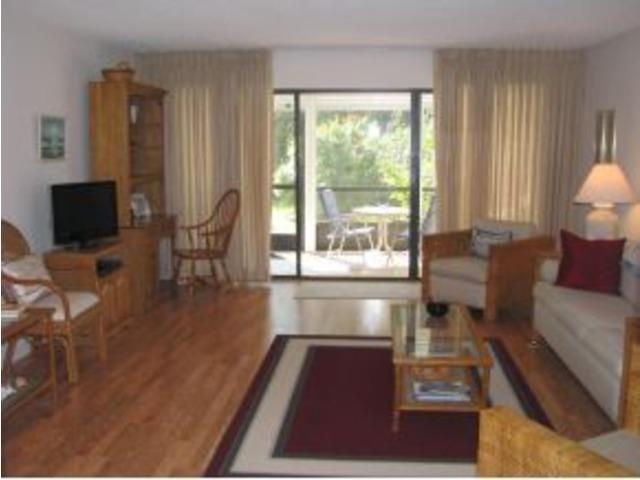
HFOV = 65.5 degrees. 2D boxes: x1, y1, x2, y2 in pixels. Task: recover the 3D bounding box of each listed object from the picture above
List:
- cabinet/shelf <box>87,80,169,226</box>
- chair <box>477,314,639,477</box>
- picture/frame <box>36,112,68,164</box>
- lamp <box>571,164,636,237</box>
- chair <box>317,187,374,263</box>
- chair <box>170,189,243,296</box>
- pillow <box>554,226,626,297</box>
[{"bbox_3d":[-1.519,-0.705,4.043,0.257,1.097,0.793,2,12,15],"label":"cabinet/shelf"},{"bbox_3d":[0.665,0.525,1.416,0.267,0.381,0.255,-8,14,-19],"label":"chair"},{"bbox_3d":[-1.671,-0.635,3.098,0.085,0.286,0.367,-4,13,-13],"label":"picture/frame"},{"bbox_3d":[1.991,-0.272,3.464,0.343,0.496,0.292,-8,14,-29],"label":"lamp"},{"bbox_3d":[0.182,-0.129,4.385,0.521,0.789,0.487,0,5,14],"label":"chair"},{"bbox_3d":[-1.010,-0.011,4.363,0.637,0.835,0.469,-3,12,-10],"label":"chair"},{"bbox_3d":[1.675,0.145,3.076,0.333,0.347,0.121,11,-12,31],"label":"pillow"}]
